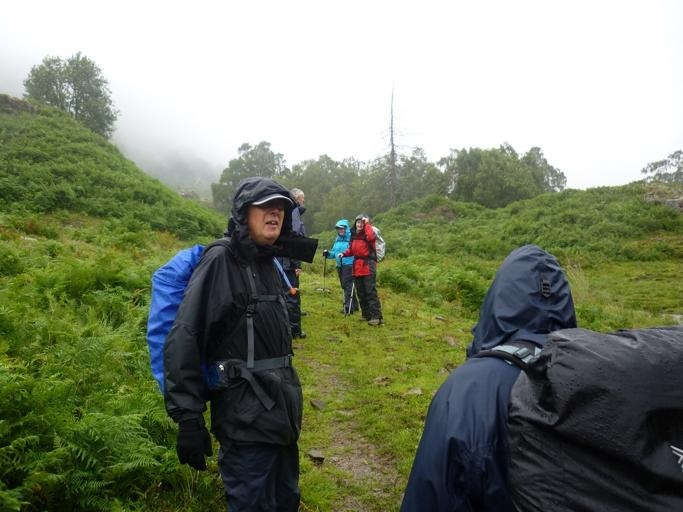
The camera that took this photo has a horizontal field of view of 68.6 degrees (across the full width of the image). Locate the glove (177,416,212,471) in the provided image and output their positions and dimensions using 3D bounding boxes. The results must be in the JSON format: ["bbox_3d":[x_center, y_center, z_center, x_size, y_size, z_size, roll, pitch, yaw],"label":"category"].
[{"bbox_3d":[-1.090,1.421,3.725,0.241,0.480,0.180,-2,8,-21],"label":"glove"}]

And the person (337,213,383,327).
[{"bbox_3d":[0.481,0.278,10.350,0.830,2.190,0.457,6,9,36],"label":"person"}]
